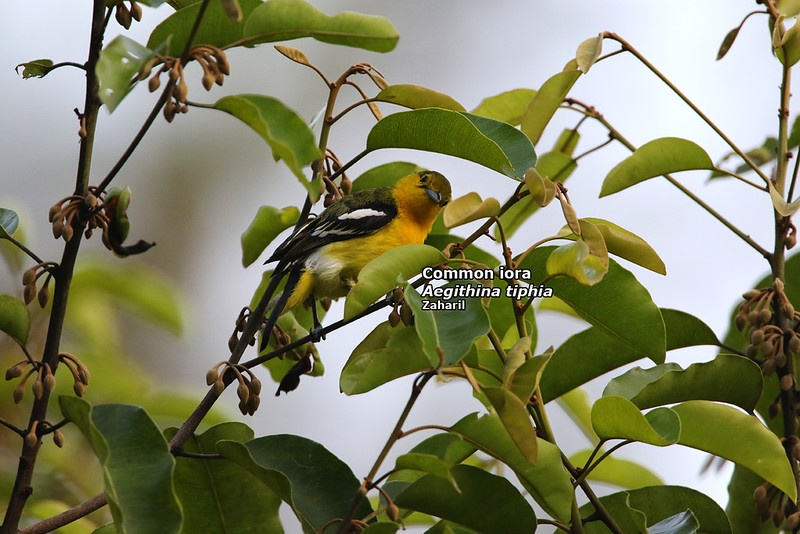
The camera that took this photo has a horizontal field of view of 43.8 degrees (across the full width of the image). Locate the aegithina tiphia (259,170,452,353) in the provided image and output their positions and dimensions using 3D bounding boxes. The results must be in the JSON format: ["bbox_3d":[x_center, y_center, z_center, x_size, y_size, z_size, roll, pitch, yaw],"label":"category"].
[{"bbox_3d":[-0.245,-0.054,4.973,1.011,0.726,0.423,-9,-28,13],"label":"aegithina tiphia"}]
